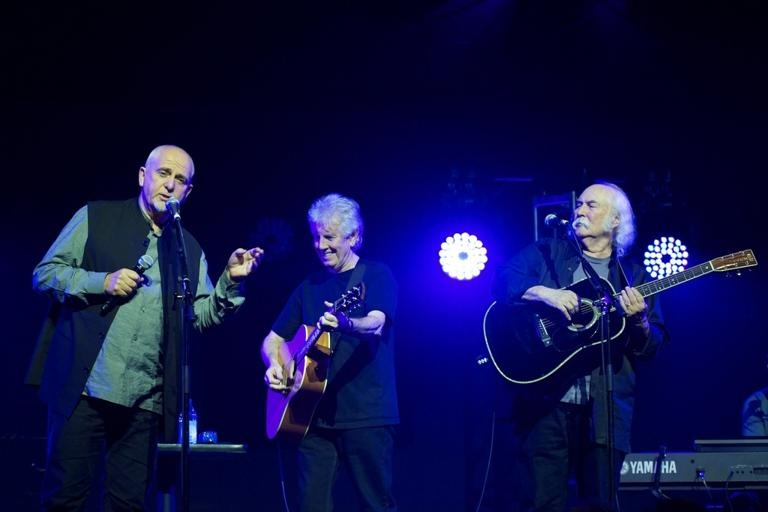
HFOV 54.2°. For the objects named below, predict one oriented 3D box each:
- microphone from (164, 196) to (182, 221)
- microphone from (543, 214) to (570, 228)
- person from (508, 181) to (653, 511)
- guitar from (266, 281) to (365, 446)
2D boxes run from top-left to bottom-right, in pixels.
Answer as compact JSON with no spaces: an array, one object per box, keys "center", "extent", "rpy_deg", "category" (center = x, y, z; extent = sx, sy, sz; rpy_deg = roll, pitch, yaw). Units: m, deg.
[{"center":[-1.642,-0.348,5.852],"extent":[0.102,0.246,0.307],"rpy_deg":[6,-18,-19],"category":"microphone"},{"center":[1.480,-0.296,6.409],"extent":[0.171,0.079,0.126],"rpy_deg":[11,4,-23],"category":"microphone"},{"center":[1.716,0.719,6.573],"extent":[1.313,2.856,0.637],"rpy_deg":[-6,-18,22],"category":"person"},{"center":[-0.684,1.045,6.402],"extent":[0.341,0.976,0.953],"rpy_deg":[9,-19,-27],"category":"guitar"}]
